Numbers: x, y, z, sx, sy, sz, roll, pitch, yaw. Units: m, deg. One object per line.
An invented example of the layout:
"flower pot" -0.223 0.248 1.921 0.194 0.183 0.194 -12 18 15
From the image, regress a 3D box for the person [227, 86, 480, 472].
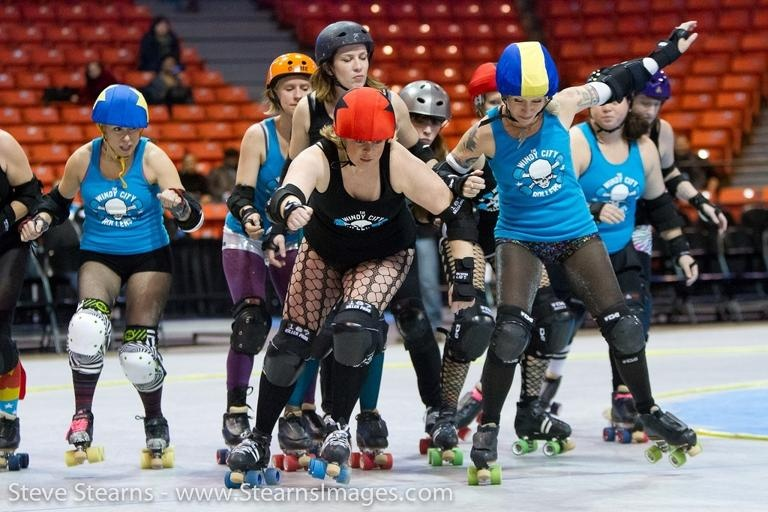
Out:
"person" -0.281 0.161 5.990 1.379 2.488 0.584 -2 4 -10

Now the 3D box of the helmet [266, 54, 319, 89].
"helmet" -0.713 -1.426 6.940 0.245 0.332 0.283 2 11 -10

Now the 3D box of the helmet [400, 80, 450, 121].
"helmet" 0.310 -1.202 7.157 0.282 0.282 0.353 2 -3 -18

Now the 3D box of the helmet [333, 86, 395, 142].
"helmet" -0.127 -0.898 5.764 0.290 0.303 0.379 2 -18 -5

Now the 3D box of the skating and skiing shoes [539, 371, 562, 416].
"skating and skiing shoes" 1.353 1.113 7.428 0.160 0.402 0.136 15 -7 -3

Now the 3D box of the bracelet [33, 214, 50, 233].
"bracelet" -2.465 -0.239 6.546 0.092 0.147 0.072 -26 19 -31

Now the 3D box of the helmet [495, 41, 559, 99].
"helmet" 0.956 -1.231 6.218 0.333 0.336 0.435 -1 -2 -1
